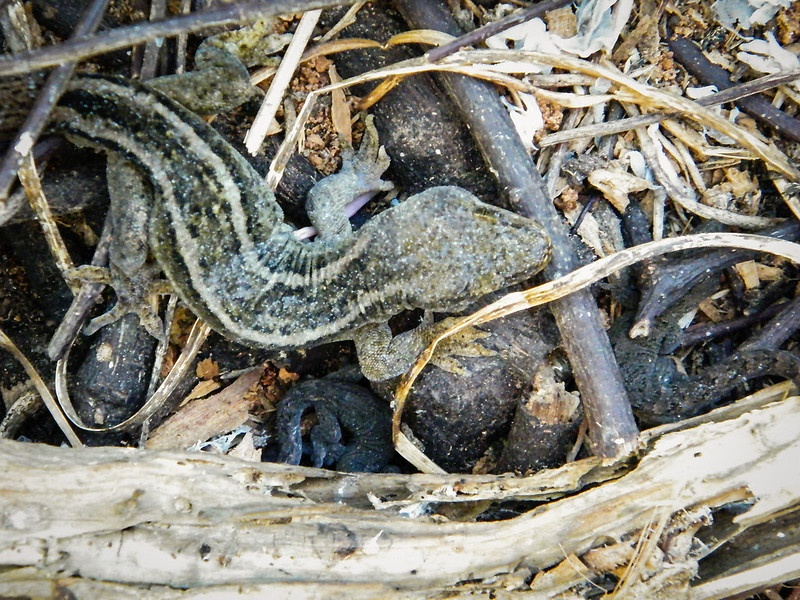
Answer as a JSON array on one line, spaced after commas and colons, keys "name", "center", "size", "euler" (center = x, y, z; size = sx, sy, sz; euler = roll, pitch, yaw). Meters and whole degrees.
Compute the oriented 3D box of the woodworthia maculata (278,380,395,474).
[{"name": "woodworthia maculata", "center": [-0.360, 0.734, 5.139], "size": [0.649, 0.584, 0.366], "euler": [-3, -27, -2]}]
